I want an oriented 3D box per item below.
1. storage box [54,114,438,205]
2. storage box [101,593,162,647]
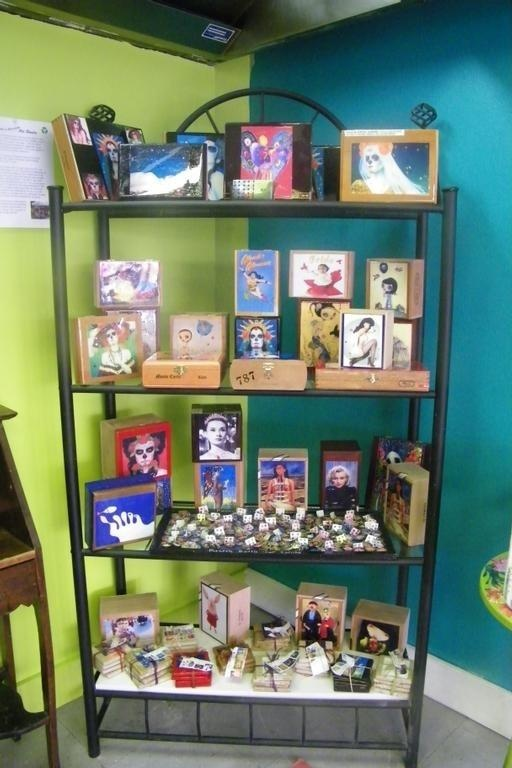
[{"bbox_3d":[0.208,-0.627,1.746,0.609,0.242,0.118,2,12,11],"label":"storage box"},{"bbox_3d":[-0.459,0.850,2.208,0.236,0.135,0.167,-1,-7,-10],"label":"storage box"}]
